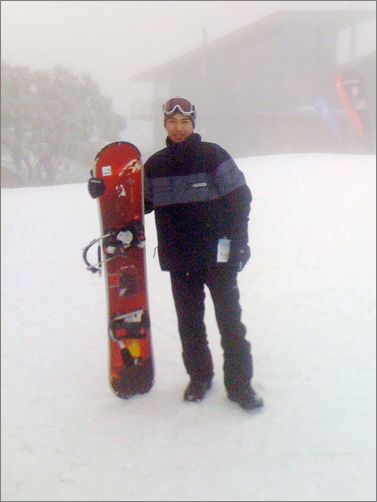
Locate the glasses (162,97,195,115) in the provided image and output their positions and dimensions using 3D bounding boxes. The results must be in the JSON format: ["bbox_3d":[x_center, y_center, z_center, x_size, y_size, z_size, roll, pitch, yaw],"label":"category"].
[{"bbox_3d":[-0.070,-0.915,3.801,0.196,0.123,0.153,-3,12,-1],"label":"glasses"}]

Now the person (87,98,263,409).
[{"bbox_3d":[-0.133,0.017,3.979,1.161,1.999,0.632,-2,13,7],"label":"person"}]

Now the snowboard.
[{"bbox_3d":[-0.417,0.128,4.148,0.525,1.706,0.298,-7,9,7],"label":"snowboard"}]

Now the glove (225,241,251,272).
[{"bbox_3d":[0.316,0.035,3.808,0.198,0.168,0.050,-1,12,-13],"label":"glove"}]

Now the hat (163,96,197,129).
[{"bbox_3d":[-0.062,-0.881,3.838,0.179,0.152,0.189,0,-15,3],"label":"hat"}]

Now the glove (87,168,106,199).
[{"bbox_3d":[-0.637,-0.459,4.084,0.132,0.180,0.072,-7,7,-15],"label":"glove"}]
